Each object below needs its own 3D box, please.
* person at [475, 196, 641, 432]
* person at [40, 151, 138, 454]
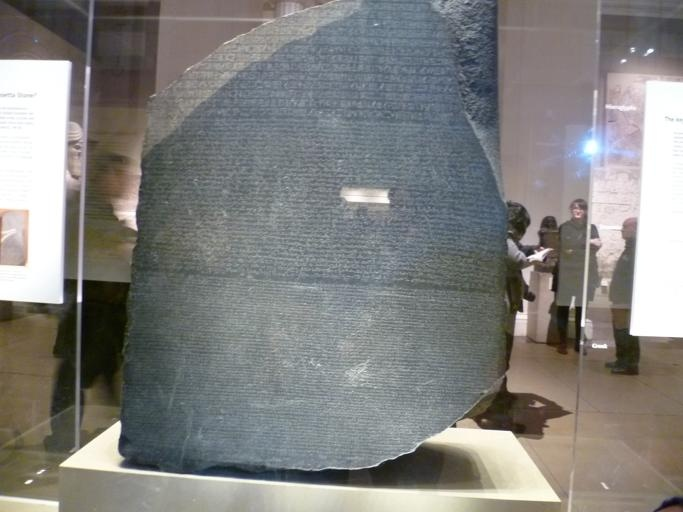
[{"bbox_3d":[0.777,0.301,2.893,0.437,1.034,0.473,6,9,12],"label":"person"},{"bbox_3d":[-1.113,0.205,3.226,0.370,1.321,0.166,1,10,-18],"label":"person"}]
